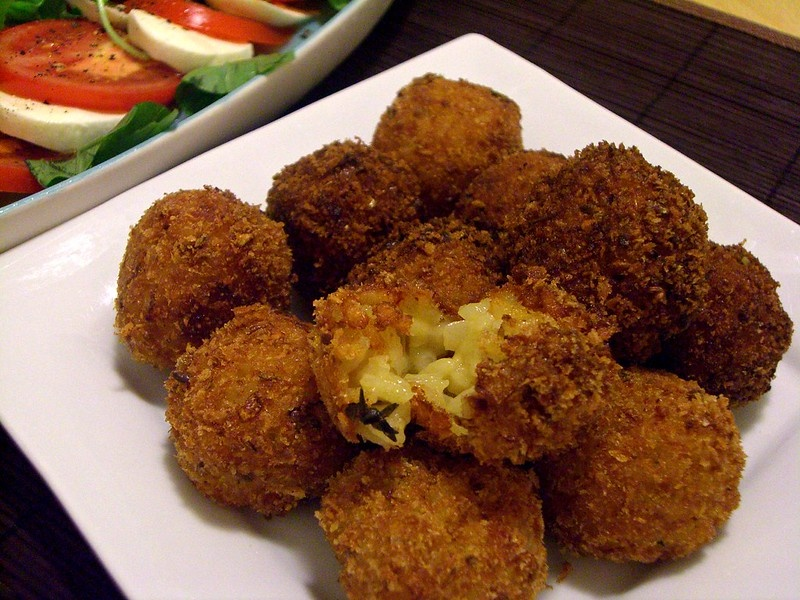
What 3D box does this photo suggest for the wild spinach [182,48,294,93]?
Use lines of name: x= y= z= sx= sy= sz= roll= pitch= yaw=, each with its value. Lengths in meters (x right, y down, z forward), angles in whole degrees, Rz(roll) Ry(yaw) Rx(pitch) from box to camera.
wild spinach: x=-0.441 y=-0.592 z=2.129 sx=0.274 sy=0.378 sz=0.116 roll=-1 pitch=107 yaw=15

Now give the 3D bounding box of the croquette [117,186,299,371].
croquette: x=-0.408 y=-0.065 z=1.695 sx=0.306 sy=0.211 sz=0.354 roll=40 pitch=91 yaw=-7

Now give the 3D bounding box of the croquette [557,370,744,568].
croquette: x=0.452 y=0.300 z=1.549 sx=0.288 sy=0.287 sz=0.376 roll=-1 pitch=96 yaw=-10

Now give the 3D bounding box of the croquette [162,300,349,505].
croquette: x=-0.281 y=0.184 z=1.546 sx=0.264 sy=0.267 sz=0.387 roll=-7 pitch=101 yaw=-29

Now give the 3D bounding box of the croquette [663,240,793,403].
croquette: x=0.672 y=0.059 z=1.691 sx=0.269 sy=0.121 sz=0.309 roll=39 pitch=74 yaw=0
